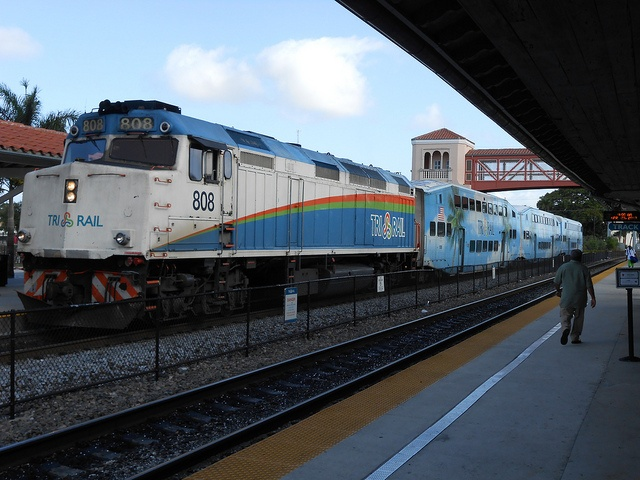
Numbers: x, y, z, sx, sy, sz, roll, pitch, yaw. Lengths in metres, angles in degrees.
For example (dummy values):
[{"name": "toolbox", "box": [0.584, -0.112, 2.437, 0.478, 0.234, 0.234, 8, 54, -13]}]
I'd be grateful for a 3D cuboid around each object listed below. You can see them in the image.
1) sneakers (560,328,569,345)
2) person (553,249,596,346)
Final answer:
[{"name": "sneakers", "box": [5.273, 2.096, 9.579, 0.155, 0.396, 0.160, 9, -13, 11]}, {"name": "person", "box": [5.564, 1.248, 9.908, 0.965, 2.304, 0.550, -1, 0, -18]}]
